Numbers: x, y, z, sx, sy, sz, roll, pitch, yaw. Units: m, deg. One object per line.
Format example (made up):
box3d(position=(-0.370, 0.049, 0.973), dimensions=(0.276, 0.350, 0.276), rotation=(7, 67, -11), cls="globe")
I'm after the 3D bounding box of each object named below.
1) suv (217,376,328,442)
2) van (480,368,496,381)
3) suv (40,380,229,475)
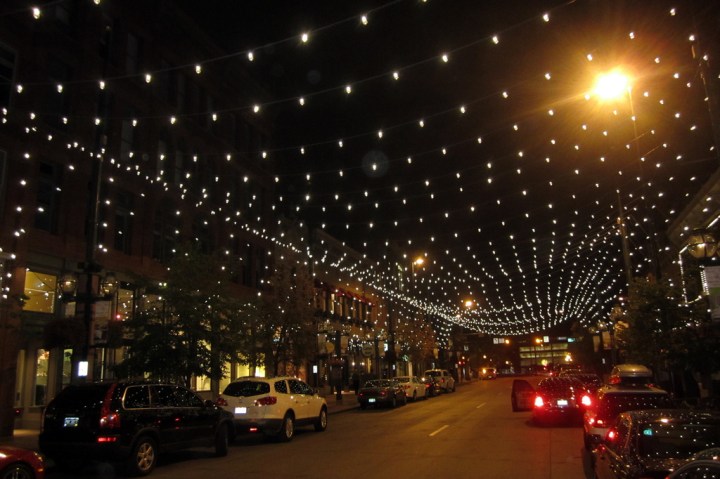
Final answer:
box3d(position=(-3.296, 6.834, 23.434), dimensions=(1.492, 2.622, 4.480), rotation=(-21, -25, 34), cls="suv")
box3d(position=(22.221, 23.537, 100.364), dimensions=(1.838, 1.495, 2.845), rotation=(-1, -7, 9), cls="van")
box3d(position=(-6.837, 5.990, 19.210), dimensions=(2.502, 2.243, 5.417), rotation=(-7, -12, 30), cls="suv")
